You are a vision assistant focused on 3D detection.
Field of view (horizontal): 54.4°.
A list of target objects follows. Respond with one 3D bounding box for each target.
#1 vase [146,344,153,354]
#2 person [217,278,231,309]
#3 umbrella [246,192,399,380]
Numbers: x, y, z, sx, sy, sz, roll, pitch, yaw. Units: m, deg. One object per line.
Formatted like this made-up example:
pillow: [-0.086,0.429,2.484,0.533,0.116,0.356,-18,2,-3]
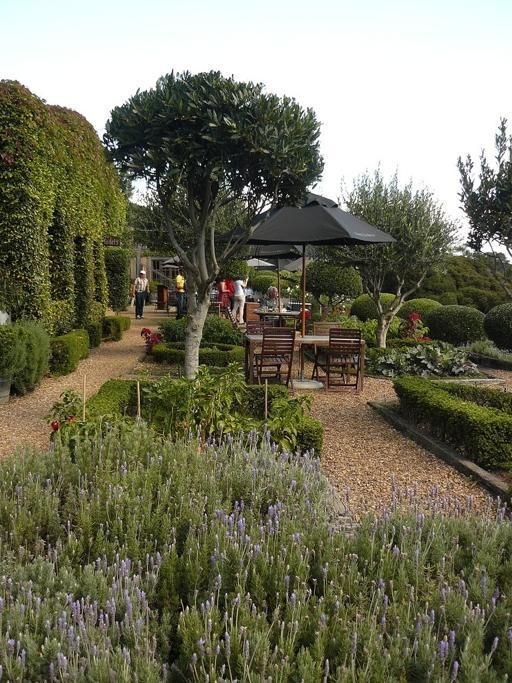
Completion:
vase: [-2.601,0.171,12.155,0.198,0.267,0.222,2,0,-12]
person: [-1.434,-2.187,23.117,0.524,1.327,1.681,0,7,-6]
umbrella: [0.692,-1.460,9.993,2.912,3.288,3.166,0,6,-6]
